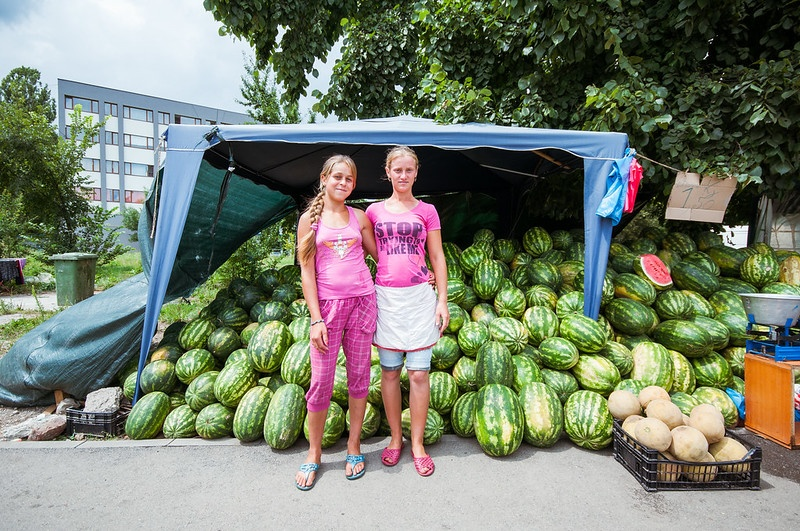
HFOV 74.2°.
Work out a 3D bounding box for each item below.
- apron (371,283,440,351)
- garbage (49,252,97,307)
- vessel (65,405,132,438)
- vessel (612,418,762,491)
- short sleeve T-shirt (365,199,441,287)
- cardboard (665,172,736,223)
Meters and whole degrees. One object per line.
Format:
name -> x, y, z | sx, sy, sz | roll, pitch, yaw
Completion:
apron -> 0.055, 0.623, 5.979 | 1.005, 0.973, 0.609 | 0, -13, -4
garbage -> -7.640, 0.272, 12.474 | 0.762, 1.158, 1.009 | 2, 4, 4
vessel -> -3.770, 1.967, 6.567 | 0.421, 0.196, 0.439 | -3, -8, 29
vessel -> 3.094, 2.120, 5.771 | 1.386, 0.568, 0.403 | 2, 5, 5
short sleeve T-shirt -> 0.028, -0.245, 5.787 | 0.875, 0.949, 0.377 | 1, -4, -4
cardboard -> 4.114, -0.972, 7.321 | 0.614, 0.689, 0.056 | 16, 18, 5
